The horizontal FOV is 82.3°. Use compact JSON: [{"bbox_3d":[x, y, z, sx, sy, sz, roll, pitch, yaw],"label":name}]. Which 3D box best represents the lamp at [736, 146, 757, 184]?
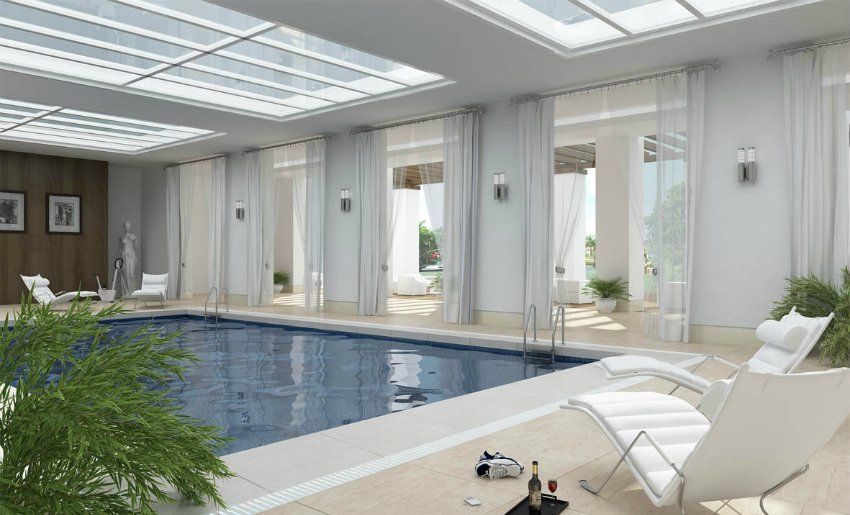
[{"bbox_3d":[5.228,-1.505,7.905,0.249,0.595,0.105,-1,2,32],"label":"lamp"}]

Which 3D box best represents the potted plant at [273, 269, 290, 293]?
[{"bbox_3d":[-5.239,0.901,17.763,0.728,0.673,0.701,1,-7,-9],"label":"potted plant"}]

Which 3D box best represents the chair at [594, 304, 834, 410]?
[{"bbox_3d":[2.952,0.949,4.839,2.192,0.992,1.161,-12,-4,10],"label":"chair"}]

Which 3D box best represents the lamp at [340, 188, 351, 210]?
[{"bbox_3d":[-1.980,-1.435,12.185,0.285,0.582,0.122,0,2,42],"label":"lamp"}]

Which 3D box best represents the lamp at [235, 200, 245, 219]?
[{"bbox_3d":[-5.404,-1.383,14.247,0.355,0.593,0.081,0,2,36],"label":"lamp"}]

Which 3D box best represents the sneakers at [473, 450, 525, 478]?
[{"bbox_3d":[0.560,1.649,3.856,0.430,0.169,0.151,-1,-19,0],"label":"sneakers"}]

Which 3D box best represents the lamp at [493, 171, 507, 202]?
[{"bbox_3d":[1.561,-1.454,10.051,0.279,0.585,0.117,-1,1,17],"label":"lamp"}]

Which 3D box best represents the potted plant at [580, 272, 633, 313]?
[{"bbox_3d":[4.640,0.897,12.460,0.978,0.641,0.924,2,-3,-21],"label":"potted plant"}]

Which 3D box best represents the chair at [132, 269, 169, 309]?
[{"bbox_3d":[-7.702,0.877,13.732,0.814,0.729,0.976,0,5,-18],"label":"chair"}]

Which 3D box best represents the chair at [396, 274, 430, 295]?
[{"bbox_3d":[-0.396,0.965,16.963,0.809,0.513,0.833,-2,-3,28],"label":"chair"}]

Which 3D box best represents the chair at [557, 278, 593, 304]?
[{"bbox_3d":[3.968,0.897,12.822,0.845,0.591,0.472,-3,-5,43],"label":"chair"}]
